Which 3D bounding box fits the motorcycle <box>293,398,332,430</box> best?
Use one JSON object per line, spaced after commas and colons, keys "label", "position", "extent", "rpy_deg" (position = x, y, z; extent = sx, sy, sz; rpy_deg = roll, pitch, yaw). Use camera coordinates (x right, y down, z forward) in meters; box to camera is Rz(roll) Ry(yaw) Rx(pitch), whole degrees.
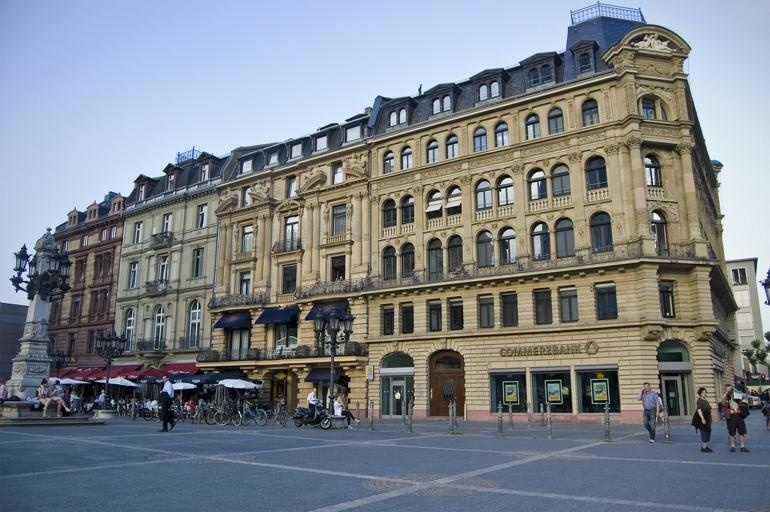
{"label": "motorcycle", "position": [-3.960, 8.918, 36.181], "extent": [2.308, 1.524, 1.029], "rpy_deg": [-9, -18, 28]}
